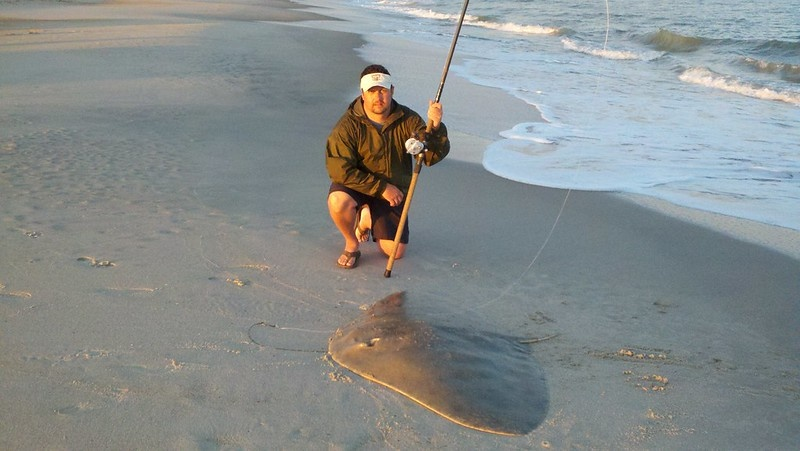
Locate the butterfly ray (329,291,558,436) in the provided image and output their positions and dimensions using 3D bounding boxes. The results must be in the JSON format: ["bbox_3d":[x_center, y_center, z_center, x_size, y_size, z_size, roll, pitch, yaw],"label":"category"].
[{"bbox_3d":[0.481,1.386,6.719,2.152,0.506,0.975,18,37,16],"label":"butterfly ray"}]

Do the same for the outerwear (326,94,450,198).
[{"bbox_3d":[-0.244,-0.845,8.026,1.585,1.122,1.201,-1,17,-27],"label":"outerwear"}]

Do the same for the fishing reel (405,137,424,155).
[{"bbox_3d":[0.159,-0.874,7.434,0.187,0.208,0.208,-3,39,-15],"label":"fishing reel"}]

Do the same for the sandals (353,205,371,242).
[{"bbox_3d":[-0.453,-0.020,7.856,0.185,0.424,0.193,-7,30,-16],"label":"sandals"}]

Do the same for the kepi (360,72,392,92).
[{"bbox_3d":[-0.256,-1.579,7.427,0.346,0.220,0.206,5,38,-3],"label":"kepi"}]
